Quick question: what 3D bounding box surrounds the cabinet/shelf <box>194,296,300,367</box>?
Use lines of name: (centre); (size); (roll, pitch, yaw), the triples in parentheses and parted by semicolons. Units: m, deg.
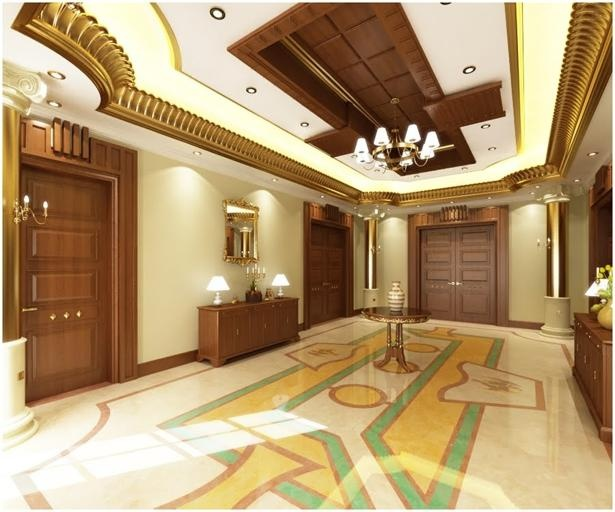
cabinet/shelf: (-0.922, 1.122, 6.449); (0.454, 0.852, 1.749); (7, 10, 43)

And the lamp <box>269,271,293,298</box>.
lamp: (-0.524, 0.515, 7.317); (0.417, 0.576, 0.413); (0, -13, -4)

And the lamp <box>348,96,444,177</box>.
lamp: (1.308, -1.835, 5.875); (1.187, 1.190, 1.179); (-2, -5, 10)

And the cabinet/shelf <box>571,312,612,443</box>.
cabinet/shelf: (3.144, 1.354, 4.314); (0.242, 0.611, 1.267); (0, 2, 29)
